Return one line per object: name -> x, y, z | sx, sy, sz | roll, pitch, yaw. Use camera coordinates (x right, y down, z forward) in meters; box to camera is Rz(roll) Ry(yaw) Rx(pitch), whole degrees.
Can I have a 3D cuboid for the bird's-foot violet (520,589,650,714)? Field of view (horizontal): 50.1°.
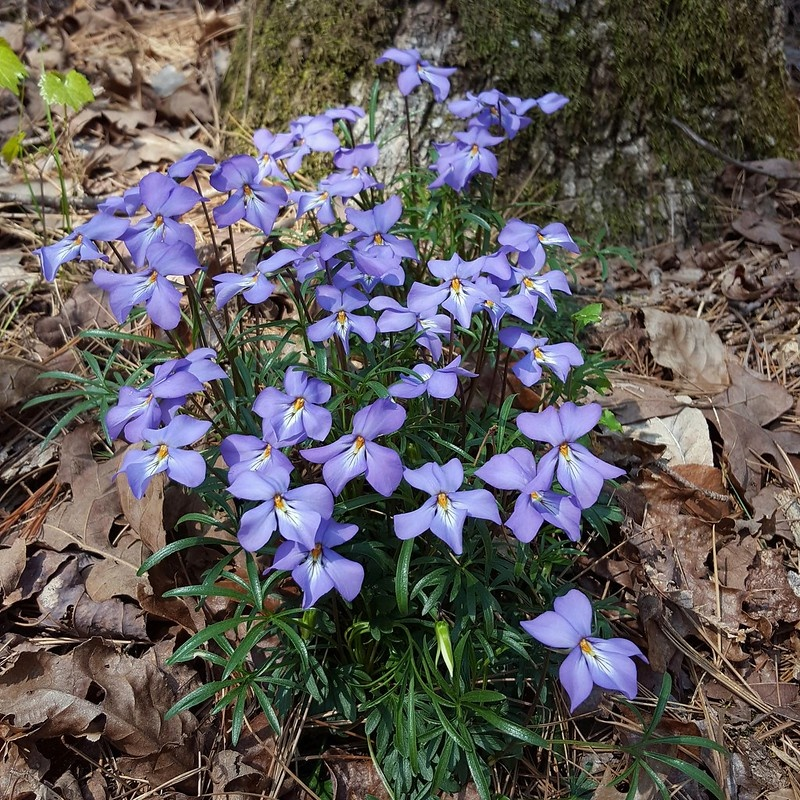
bird's-foot violet -> 0.634, 0.839, 3.030 | 0.411, 0.099, 0.433 | -23, 65, -27
